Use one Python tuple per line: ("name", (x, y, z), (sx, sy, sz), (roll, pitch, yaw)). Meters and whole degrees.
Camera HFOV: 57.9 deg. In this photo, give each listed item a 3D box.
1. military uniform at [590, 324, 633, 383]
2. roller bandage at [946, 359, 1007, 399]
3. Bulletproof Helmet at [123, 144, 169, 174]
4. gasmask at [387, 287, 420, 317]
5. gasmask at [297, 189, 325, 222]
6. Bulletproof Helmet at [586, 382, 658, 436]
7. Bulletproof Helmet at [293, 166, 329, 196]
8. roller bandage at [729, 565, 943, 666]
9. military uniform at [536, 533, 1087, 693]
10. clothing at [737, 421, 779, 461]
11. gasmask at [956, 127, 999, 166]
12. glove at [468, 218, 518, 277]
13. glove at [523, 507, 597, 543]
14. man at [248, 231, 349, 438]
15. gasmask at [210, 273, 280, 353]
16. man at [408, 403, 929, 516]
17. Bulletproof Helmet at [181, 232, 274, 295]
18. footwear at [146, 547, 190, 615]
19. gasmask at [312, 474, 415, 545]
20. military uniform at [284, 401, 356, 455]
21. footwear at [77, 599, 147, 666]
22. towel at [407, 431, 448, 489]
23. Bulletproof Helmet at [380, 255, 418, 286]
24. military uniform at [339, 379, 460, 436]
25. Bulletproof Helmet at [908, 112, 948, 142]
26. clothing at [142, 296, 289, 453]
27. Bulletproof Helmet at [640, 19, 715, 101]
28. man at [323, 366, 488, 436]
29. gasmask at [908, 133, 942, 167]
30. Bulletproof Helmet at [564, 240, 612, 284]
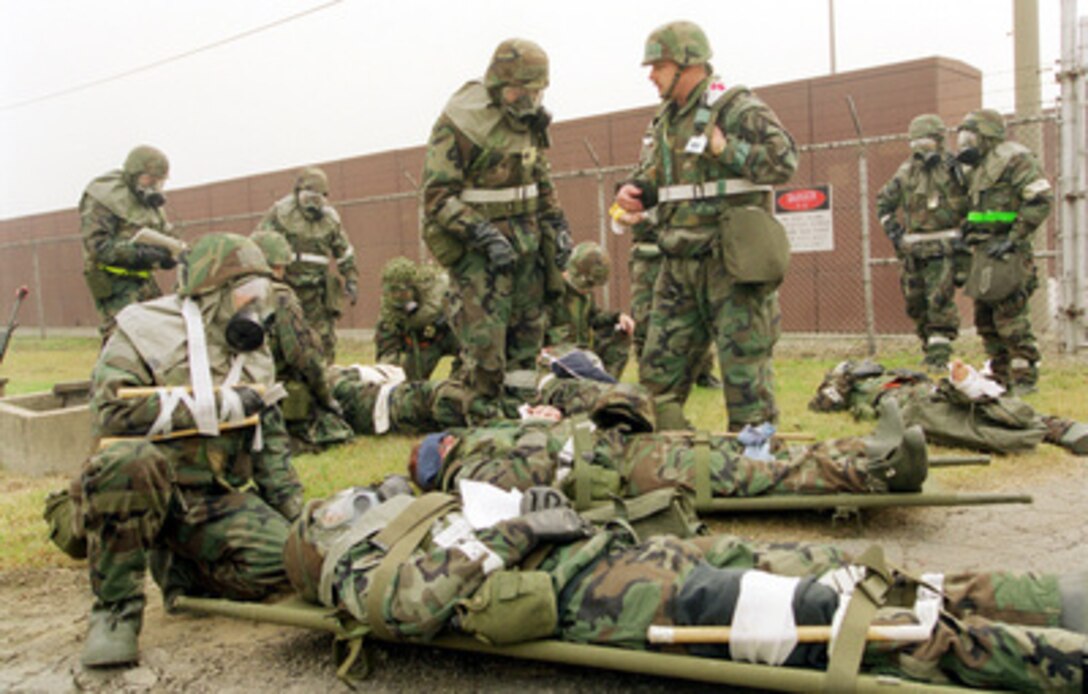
("military uniform", (0.685, 0.040, 9.968), (0.422, 0.508, 0.258), (2, 26, -4))
("roller bandage", (3.336, 0.270, 7.668), (0.405, 0.180, 0.327), (28, -12, -1))
("Bulletproof Helmet", (-4.281, -1.980, 10.566), (0.421, 0.309, 0.229), (0, 13, 4))
("gasmask", (-1.420, -0.462, 9.945), (0.222, 0.262, 0.295), (-17, 23, 16))
("gasmask", (-2.698, -1.633, 11.392), (0.260, 0.326, 0.317), (-5, 25, -12))
("Bulletproof Helmet", (0.541, 0.431, 6.810), (0.369, 0.159, 0.359), (-2, 39, 7))
("Bulletproof Helmet", (-2.727, -1.905, 11.487), (0.348, 0.349, 0.463), (3, 11, -31))
("roller bandage", (1.450, 1.348, 5.217), (0.815, 0.263, 0.604), (0, -3, 7))
("military uniform", (1.507, 1.344, 5.511), (3.021, 0.698, 0.977), (1, -5, 11))
("clothing", (1.506, 0.675, 7.009), (0.251, 0.223, 0.295), (-31, 32, -27))
("gasmask", (4.476, -2.090, 10.240), (0.358, 0.383, 0.296), (-8, 15, -19))
("glove", (-0.441, -0.795, 8.011), (0.303, 0.447, 0.180), (-35, 8, -17))
("glove", (0.076, 1.008, 5.570), (0.249, 0.095, 0.218), (2, 15, -35))
("man", (-2.230, 0.025, 8.784), (0.723, 1.840, 1.190), (-23, 9, -13))
("gasmask", (-1.871, -0.211, 6.178), (0.345, 0.234, 0.450), (2, 48, -9))
("man", (0.809, 0.756, 6.572), (2.520, 0.575, 1.289), (3, 4, -4))
("Bulletproof Helmet", (-2.027, -0.524, 6.323), (0.500, 0.371, 0.354), (5, 2, -9))
("footwear", (-2.402, 1.470, 6.312), (0.296, 0.405, 0.164), (-5, 5, 31))
("gasmask", (-1.109, 1.043, 5.949), (0.481, 0.191, 0.360), (-21, 19, -24))
("military uniform", (-2.045, 0.743, 9.019), (0.432, 0.227, 0.551), (2, -3, 35))
("footwear", (-2.534, 1.664, 5.761), (0.303, 0.292, 0.252), (-2, 13, -3))
("towel", (-0.785, 0.762, 6.593), (0.164, 0.354, 0.284), (9, 15, -41))
("Bulletproof Helmet", (-1.478, -0.753, 9.894), (0.344, 0.213, 0.406), (-7, 14, -24))
("military uniform", (-1.307, 0.568, 9.213), (0.938, 0.342, 0.574), (-4, -2, 26))
("Bulletproof Helmet", (4.187, -2.397, 10.707), (0.368, 0.273, 0.305), (-17, 18, -34))
("clothing", (-2.113, 0.140, 6.018), (0.479, 0.793, 0.479), (2, 14, 14))
("Bulletproof Helmet", (1.042, -2.245, 7.726), (0.500, 0.571, 0.275), (0, 14, 6))
("man", (-1.371, 0.508, 9.276), (1.099, 0.341, 0.755), (1, 3, 31))
("gasmask", (4.142, -2.115, 10.706), (0.257, 0.325, 0.331), (-25, -30, 8))
("Bulletproof Helmet", (0.385, -0.744, 9.198), (0.342, 0.398, 0.416), (-9, 46, -37))
